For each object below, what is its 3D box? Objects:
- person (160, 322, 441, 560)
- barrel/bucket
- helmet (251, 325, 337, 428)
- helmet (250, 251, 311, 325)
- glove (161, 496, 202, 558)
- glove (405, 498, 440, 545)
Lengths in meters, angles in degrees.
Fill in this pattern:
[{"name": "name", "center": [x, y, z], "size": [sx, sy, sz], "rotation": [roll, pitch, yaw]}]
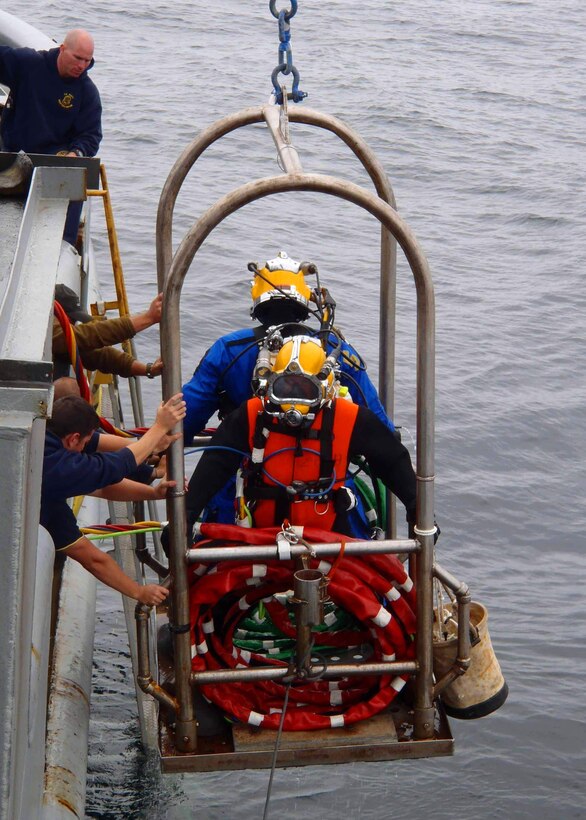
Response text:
[{"name": "person", "center": [0.023, 0.192, 9.204], "size": [1.565, 1.801, 0.662], "rotation": [-2, 3, 7]}, {"name": "barrel/bucket", "center": [0.870, 1.200, 8.901], "size": [0.353, 0.619, 0.537], "rotation": [0, 36, 4]}, {"name": "helmet", "center": [0.036, -0.170, 8.865], "size": [0.355, 0.422, 0.465], "rotation": [3, 22, 0]}, {"name": "helmet", "center": [-0.072, -0.657, 9.762], "size": [0.327, 0.363, 0.377], "rotation": [1, -13, -2]}, {"name": "glove", "center": [-0.562, 0.547, 8.628], "size": [0.240, 0.317, 0.312], "rotation": [4, -2, -5]}, {"name": "glove", "center": [0.605, 0.525, 8.702], "size": [0.169, 0.198, 0.204], "rotation": [1, 10, 4]}]
